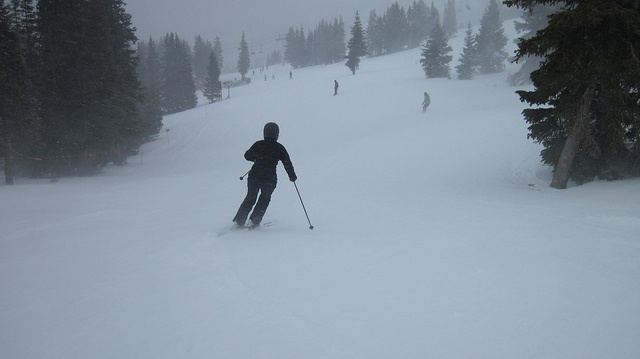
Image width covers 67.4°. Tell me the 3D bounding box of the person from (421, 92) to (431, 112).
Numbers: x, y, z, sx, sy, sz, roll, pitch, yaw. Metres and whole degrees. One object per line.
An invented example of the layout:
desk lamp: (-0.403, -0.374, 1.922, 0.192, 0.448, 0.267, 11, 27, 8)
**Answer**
person: (9.055, -6.574, 40.884, 0.582, 1.644, 1.336, -3, 16, 5)
